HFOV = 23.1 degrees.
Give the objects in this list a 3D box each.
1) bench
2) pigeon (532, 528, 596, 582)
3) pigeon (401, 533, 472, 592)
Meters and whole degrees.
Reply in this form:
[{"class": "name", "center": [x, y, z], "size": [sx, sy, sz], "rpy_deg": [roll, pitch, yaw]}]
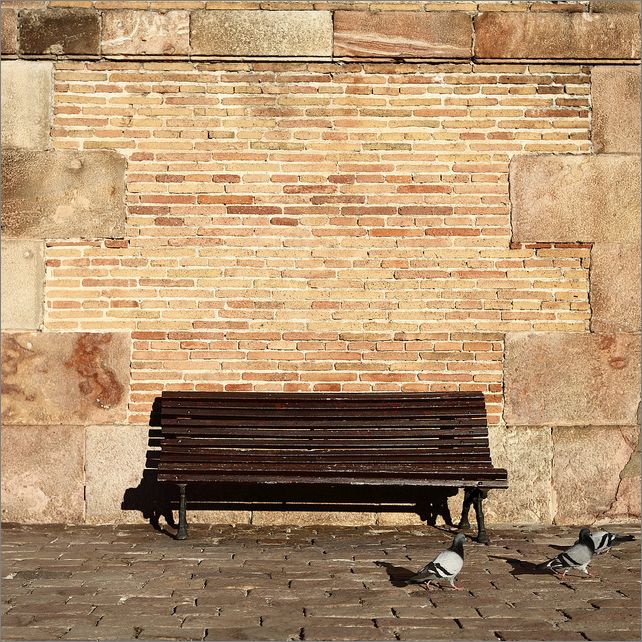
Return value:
[{"class": "bench", "center": [-0.011, 1.232, 13.151], "size": [3.162, 1.246, 1.168], "rpy_deg": [2, 92, 7]}, {"class": "pigeon", "center": [1.908, 1.741, 11.952], "size": [0.653, 0.212, 0.382], "rpy_deg": [16, 68, -41]}, {"class": "pigeon", "center": [0.898, 1.793, 11.671], "size": [0.682, 0.230, 0.450], "rpy_deg": [-7, 92, -31]}]
